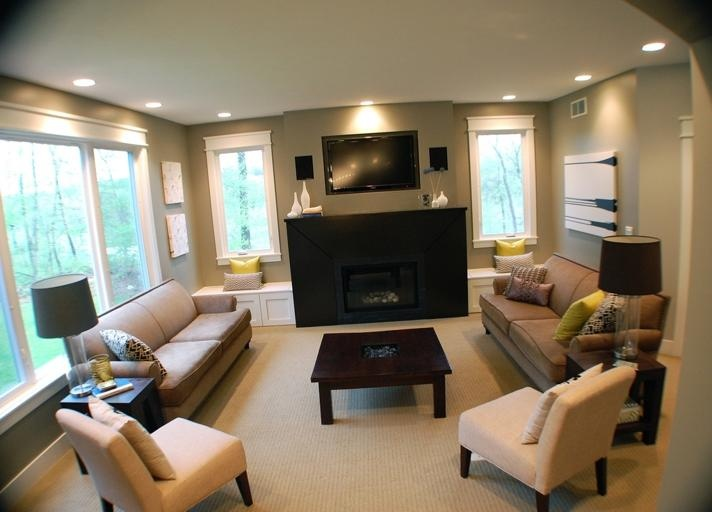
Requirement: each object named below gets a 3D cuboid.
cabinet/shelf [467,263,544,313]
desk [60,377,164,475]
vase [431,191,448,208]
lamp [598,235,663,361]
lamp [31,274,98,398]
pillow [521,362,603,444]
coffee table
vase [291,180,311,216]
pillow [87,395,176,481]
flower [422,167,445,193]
[{"bbox_3d":[1.740,0.358,6.423,0.812,0.616,0.451,-2,4,1],"label":"cabinet/shelf"},{"bbox_3d":[-1.803,1.163,4.006,0.715,0.761,0.713,0,10,-3],"label":"desk"},{"bbox_3d":[1.062,-0.704,6.256,0.199,0.234,0.197,-9,16,-28],"label":"vase"},{"bbox_3d":[2.034,0.310,3.787,0.399,0.906,0.344,2,9,30],"label":"lamp"},{"bbox_3d":[-2.146,0.592,3.785,0.380,0.885,0.286,-9,10,-39],"label":"lamp"},{"bbox_3d":[1.382,0.982,3.400,0.652,0.485,0.238,-14,26,-35],"label":"pillow"},{"bbox_3d":[0.210,1.069,4.557,1.136,0.556,0.852,-3,7,0],"label":"coffee table"},{"bbox_3d":[-0.701,-0.719,6.280,0.260,0.432,0.246,-2,8,2],"label":"vase"},{"bbox_3d":[-1.451,1.223,3.285,0.581,0.495,0.311,3,25,43],"label":"pillow"},{"bbox_3d":[0.964,-0.961,6.303,0.292,0.380,0.106,-1,12,10],"label":"flower"}]
